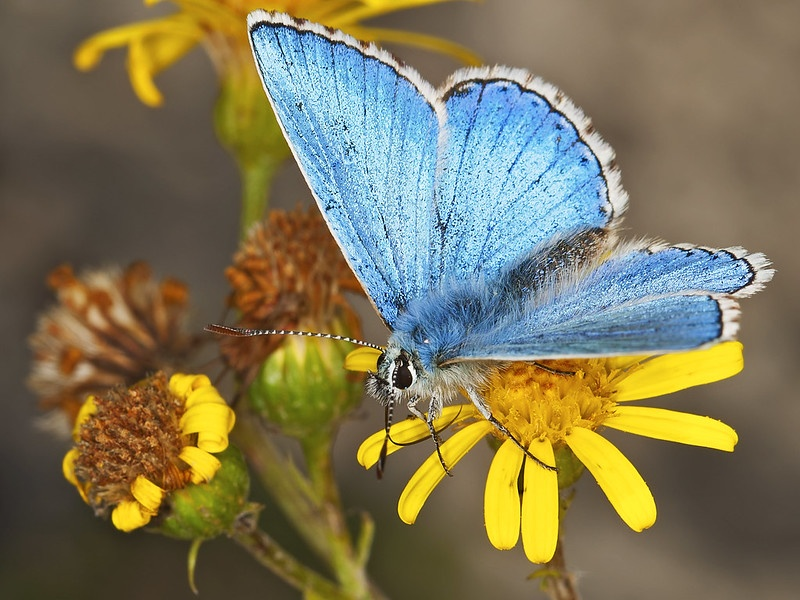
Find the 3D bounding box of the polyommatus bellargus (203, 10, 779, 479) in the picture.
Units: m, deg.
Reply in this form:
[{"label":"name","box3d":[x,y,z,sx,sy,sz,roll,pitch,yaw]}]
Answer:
[{"label":"polyommatus bellargus","box3d":[0.115,-0.262,3.272,1.681,1.221,1.615,-3,105,-20]}]

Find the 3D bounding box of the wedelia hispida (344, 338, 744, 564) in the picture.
[{"label":"wedelia hispida","box3d":[0.469,0.409,2.719,1.030,0.567,0.542,-13,66,-20]}]

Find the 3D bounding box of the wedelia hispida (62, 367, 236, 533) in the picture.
[{"label":"wedelia hispida","box3d":[-0.701,0.401,2.812,0.440,0.200,0.367,-25,71,-24]}]
